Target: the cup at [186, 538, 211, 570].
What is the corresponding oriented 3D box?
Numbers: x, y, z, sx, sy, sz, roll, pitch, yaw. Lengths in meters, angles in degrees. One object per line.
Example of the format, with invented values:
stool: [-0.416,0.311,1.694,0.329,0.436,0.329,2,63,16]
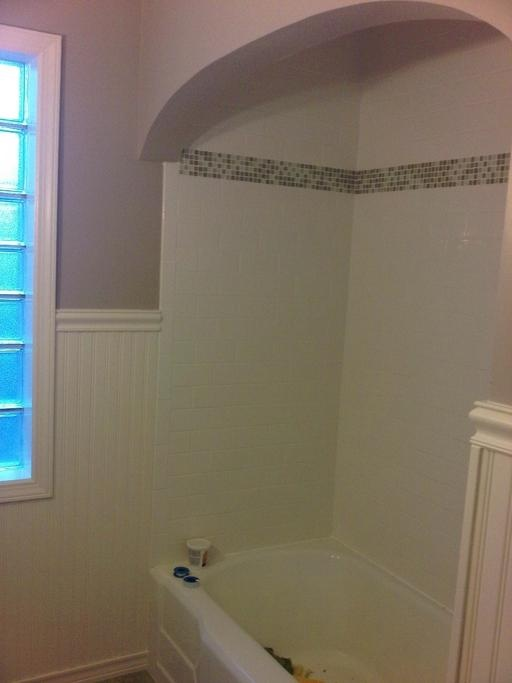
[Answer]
cup: [-0.210,0.734,2.049,0.079,0.073,0.085,2,10,0]
